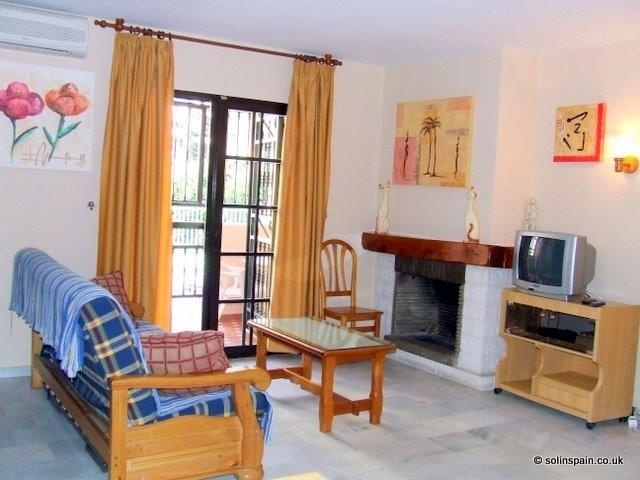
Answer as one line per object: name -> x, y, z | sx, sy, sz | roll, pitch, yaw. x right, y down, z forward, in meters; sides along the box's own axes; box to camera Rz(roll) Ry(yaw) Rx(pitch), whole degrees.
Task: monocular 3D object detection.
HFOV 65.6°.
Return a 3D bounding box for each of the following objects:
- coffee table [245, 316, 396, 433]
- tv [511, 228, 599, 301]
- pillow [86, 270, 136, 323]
coffee table -> -0.052, 1.088, 4.193 | 0.642, 0.616, 1.321 | 3, -1, -32
tv -> 1.955, 0.150, 4.355 | 0.556, 0.627, 0.748 | -2, 7, -26
pillow -> -1.712, 0.396, 4.171 | 0.148, 0.460, 0.481 | -24, -3, 23
